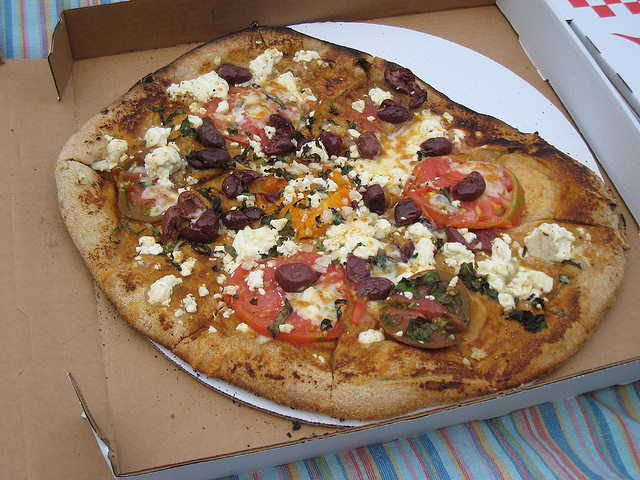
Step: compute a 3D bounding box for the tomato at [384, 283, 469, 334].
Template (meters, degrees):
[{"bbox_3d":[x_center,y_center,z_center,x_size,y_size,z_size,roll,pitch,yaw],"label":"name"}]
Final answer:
[{"bbox_3d":[0.724,0.472,4.692,0.467,0.131,0.281,16,46,-15],"label":"tomato"}]
